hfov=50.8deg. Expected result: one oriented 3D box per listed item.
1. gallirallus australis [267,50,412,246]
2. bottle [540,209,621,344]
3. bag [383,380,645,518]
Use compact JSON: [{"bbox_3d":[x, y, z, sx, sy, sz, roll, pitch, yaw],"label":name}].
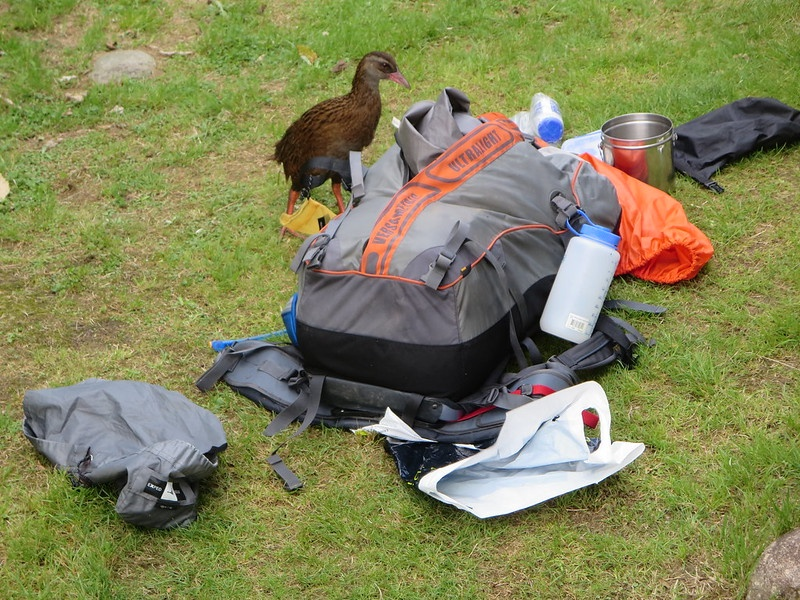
[{"bbox_3d":[-0.470,-1.101,5.869,1.077,1.265,0.584,12,26,17],"label":"gallirallus australis"},{"bbox_3d":[1.046,-0.122,4.916,0.430,0.694,0.401,18,11,-4],"label":"bottle"},{"bbox_3d":[0.642,0.754,4.193,1.053,0.378,0.400,-14,38,-5],"label":"bag"}]
